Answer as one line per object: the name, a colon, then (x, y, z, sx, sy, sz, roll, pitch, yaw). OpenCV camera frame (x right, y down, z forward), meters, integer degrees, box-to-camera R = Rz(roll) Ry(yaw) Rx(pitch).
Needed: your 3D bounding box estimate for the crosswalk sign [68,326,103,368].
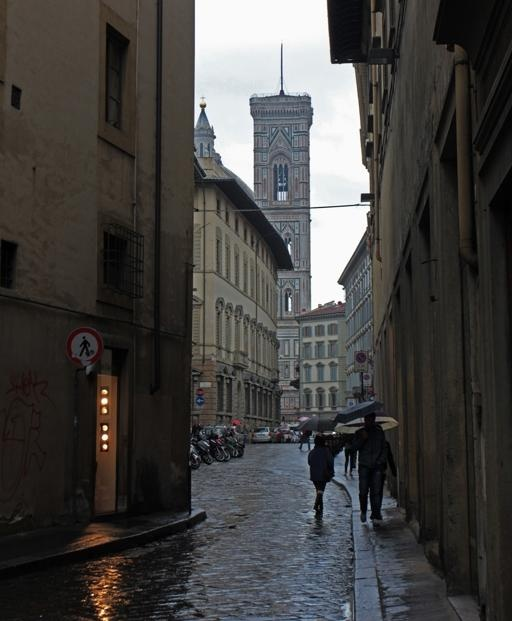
crosswalk sign: (-2.321, 0.486, 12.036, 0.494, 0.028, 0.800, 2, 39, -18)

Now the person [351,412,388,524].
person: (1.629, 2.202, 12.535, 0.460, 1.502, 0.851, -4, -10, 4)

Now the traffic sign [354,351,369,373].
traffic sign: (3.281, 1.581, 27.859, 0.337, 0.847, 1.022, -4, -13, 2)
